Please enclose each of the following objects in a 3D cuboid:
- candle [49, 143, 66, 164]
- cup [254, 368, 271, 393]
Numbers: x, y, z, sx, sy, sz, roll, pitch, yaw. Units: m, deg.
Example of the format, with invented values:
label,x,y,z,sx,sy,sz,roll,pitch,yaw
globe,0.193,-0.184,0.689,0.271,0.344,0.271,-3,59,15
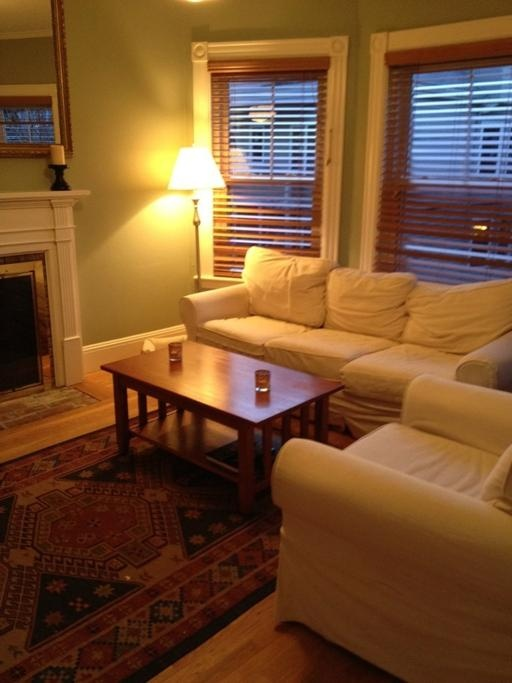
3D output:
label,x,y,z,sx,sy,sz,roll,pitch,yaw
candle,-1.255,-1.189,3.473,0.095,0.142,0.226,-4,14,-18
cup,0.026,0.166,2.319,0.083,0.092,0.082,1,4,0
